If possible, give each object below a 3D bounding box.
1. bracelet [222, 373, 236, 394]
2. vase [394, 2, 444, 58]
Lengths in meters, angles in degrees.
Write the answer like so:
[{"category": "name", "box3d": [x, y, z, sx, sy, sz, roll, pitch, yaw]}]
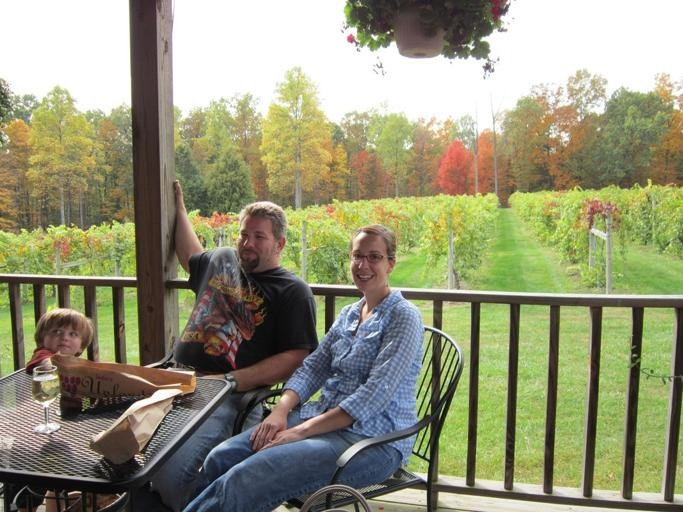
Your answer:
[{"category": "bracelet", "box3d": [-0.500, 0.579, 2.623, 0.069, 0.074, 0.069, 1, 12, 6]}, {"category": "vase", "box3d": [0.388, -1.119, 2.941, 0.204, 0.169, 0.216, -2, 0, -1]}]
